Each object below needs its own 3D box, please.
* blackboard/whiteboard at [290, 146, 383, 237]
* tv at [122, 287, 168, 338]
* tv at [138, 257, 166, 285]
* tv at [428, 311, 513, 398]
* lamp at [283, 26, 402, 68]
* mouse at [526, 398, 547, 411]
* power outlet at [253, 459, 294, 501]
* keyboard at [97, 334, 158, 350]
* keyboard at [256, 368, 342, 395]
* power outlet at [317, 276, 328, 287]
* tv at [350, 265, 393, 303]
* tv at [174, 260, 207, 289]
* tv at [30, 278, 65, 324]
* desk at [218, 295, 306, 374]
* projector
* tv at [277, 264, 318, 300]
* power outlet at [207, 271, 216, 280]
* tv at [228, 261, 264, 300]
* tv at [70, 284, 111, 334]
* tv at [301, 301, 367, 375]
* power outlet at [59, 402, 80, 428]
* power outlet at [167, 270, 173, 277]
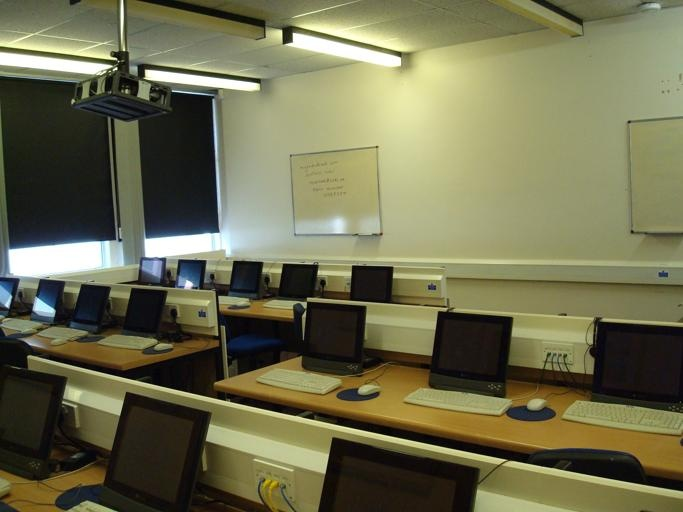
[{"bbox_3d":[-0.078,-0.848,7.368,1.518,1.172,0.028,2,9,37],"label":"blackboard/whiteboard"},{"bbox_3d":[-1.572,0.448,4.336,0.374,0.352,0.040,4,-11,25],"label":"tv"},{"bbox_3d":[-2.309,0.198,6.610,0.287,0.351,0.037,12,17,21],"label":"tv"},{"bbox_3d":[0.734,0.560,2.986,0.429,0.409,0.233,3,-5,30],"label":"tv"},{"bbox_3d":[0.096,-2.383,5.890,1.268,0.126,0.151,14,-35,-3],"label":"lamp"},{"bbox_3d":[0.994,0.753,2.741,0.076,0.038,0.135,6,15,39],"label":"mouse"},{"bbox_3d":[-0.246,0.834,2.010,0.186,0.124,0.026,1,4,36],"label":"power outlet"},{"bbox_3d":[-1.659,0.667,4.198,0.537,0.034,0.217,3,13,29],"label":"keyboard"},{"bbox_3d":[-0.230,0.752,3.218,0.285,0.038,0.184,4,11,23],"label":"keyboard"},{"bbox_3d":[-0.184,0.254,5.382,0.104,0.099,0.053,4,7,31],"label":"power outlet"},{"bbox_3d":[0.245,0.264,5.020,0.412,0.331,0.144,4,-1,-22],"label":"tv"},{"bbox_3d":[-1.704,0.213,6.147,0.350,0.246,0.035,2,-2,40],"label":"tv"},{"bbox_3d":[-2.748,0.440,5.074,0.418,0.463,0.051,2,-12,27],"label":"tv"},{"bbox_3d":[-0.697,0.707,4.826,0.436,0.501,0.831,3,6,35],"label":"desk"},{"bbox_3d":[-1.593,-1.123,3.790,0.444,0.164,0.451,14,16,40],"label":"projector"},{"bbox_3d":[-0.455,0.259,5.460,0.403,0.369,0.044,6,-7,29],"label":"tv"},{"bbox_3d":[-1.484,0.237,6.222,0.082,0.090,0.046,-2,13,10],"label":"power outlet"},{"bbox_3d":[-1.032,0.238,5.763,0.043,0.397,0.422,11,2,42],"label":"tv"},{"bbox_3d":[-2.131,0.466,4.622,0.406,0.416,0.051,5,-13,31],"label":"tv"},{"bbox_3d":[-0.027,0.530,3.395,0.450,0.426,0.216,1,-3,30],"label":"tv"},{"bbox_3d":[-1.294,0.757,2.577,0.171,0.116,0.024,15,18,37],"label":"power outlet"},{"bbox_3d":[-2.108,0.213,6.635,0.082,0.082,0.034,0,13,18],"label":"power outlet"}]
